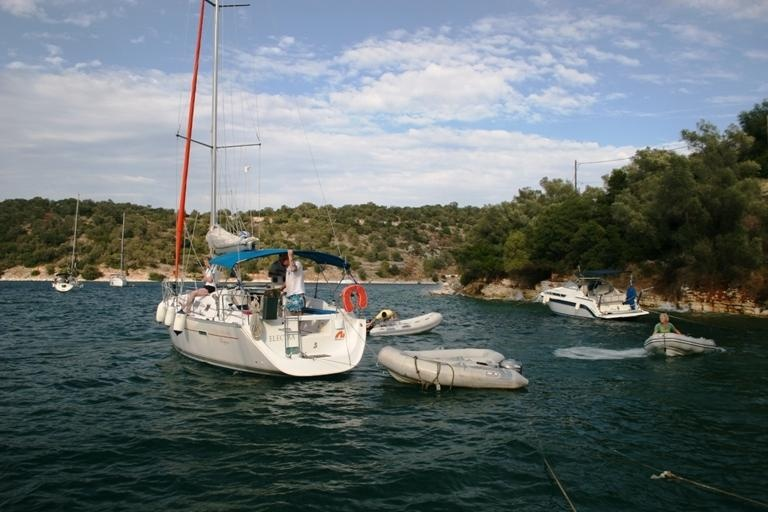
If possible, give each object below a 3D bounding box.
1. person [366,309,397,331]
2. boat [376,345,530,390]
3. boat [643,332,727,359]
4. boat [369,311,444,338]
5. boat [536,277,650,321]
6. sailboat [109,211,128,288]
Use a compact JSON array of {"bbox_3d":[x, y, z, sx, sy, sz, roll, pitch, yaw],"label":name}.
[{"bbox_3d":[-0.148,3.694,31.142,1.791,0.615,0.825,-26,35,-9],"label":"person"},{"bbox_3d":[2.663,4.150,19.711,4.210,0.956,2.147,1,-3,-2],"label":"boat"},{"bbox_3d":[13.756,4.093,24.142,2.644,0.776,1.269,9,-20,-6],"label":"boat"},{"bbox_3d":[1.360,4.068,30.708,3.279,0.777,1.600,-5,3,-1],"label":"boat"},{"bbox_3d":[15.183,2.982,37.996,7.441,2.986,4.780,9,15,33],"label":"boat"},{"bbox_3d":[-35.057,-0.781,70.098,1.557,7.363,21.750,-6,14,-24],"label":"sailboat"}]
